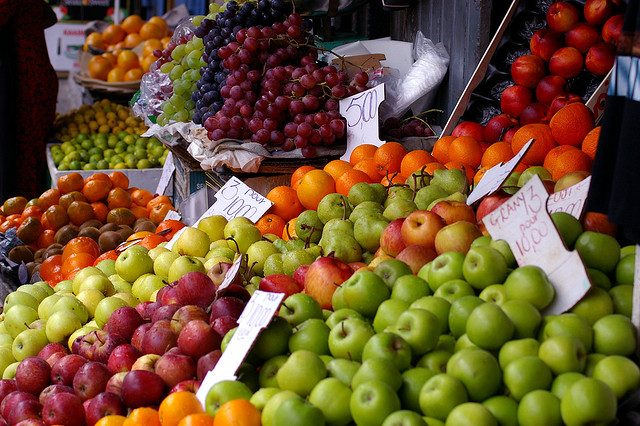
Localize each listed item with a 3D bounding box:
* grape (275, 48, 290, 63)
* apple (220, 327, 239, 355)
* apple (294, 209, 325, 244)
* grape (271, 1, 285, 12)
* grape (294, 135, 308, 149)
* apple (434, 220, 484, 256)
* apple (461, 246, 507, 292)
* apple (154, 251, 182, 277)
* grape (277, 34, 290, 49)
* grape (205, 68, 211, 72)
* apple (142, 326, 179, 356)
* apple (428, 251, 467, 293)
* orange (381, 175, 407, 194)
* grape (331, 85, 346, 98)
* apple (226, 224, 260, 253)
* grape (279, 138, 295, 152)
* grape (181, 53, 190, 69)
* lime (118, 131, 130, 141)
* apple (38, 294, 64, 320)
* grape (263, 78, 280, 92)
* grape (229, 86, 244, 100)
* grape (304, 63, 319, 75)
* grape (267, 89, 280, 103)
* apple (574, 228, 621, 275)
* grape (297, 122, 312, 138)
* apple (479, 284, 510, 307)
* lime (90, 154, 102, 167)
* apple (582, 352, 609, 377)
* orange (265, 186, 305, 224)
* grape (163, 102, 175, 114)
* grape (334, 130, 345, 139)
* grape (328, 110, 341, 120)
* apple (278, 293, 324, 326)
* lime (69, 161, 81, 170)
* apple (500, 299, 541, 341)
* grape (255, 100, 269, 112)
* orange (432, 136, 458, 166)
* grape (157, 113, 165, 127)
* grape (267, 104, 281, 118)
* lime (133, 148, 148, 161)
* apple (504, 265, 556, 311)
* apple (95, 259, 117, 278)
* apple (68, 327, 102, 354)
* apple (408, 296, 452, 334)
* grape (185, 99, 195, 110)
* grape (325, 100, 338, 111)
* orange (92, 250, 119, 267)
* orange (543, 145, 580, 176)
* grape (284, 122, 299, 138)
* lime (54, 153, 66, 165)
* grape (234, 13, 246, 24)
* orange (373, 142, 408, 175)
[{"bbox_3d":[-0.242,-1.011,3.568,0.071,0.104,0.078,-1,-5,-11],"label":"grape"},{"bbox_3d":[-0.336,0.461,2.015,0.071,0.076,0.068,-2,17,-34],"label":"apple"},{"bbox_3d":[-0.040,0.054,2.828,0.127,0.157,0.171,-8,17,8],"label":"apple"},{"bbox_3d":[-0.286,-1.384,3.726,0.081,0.075,0.068,4,11,-4],"label":"grape"},{"bbox_3d":[-0.119,-0.429,3.394,0.064,0.084,0.073,10,57,14],"label":"grape"},{"bbox_3d":[0.552,0.122,2.287,0.166,0.188,0.167,-4,-1,-41],"label":"apple"},{"bbox_3d":[0.603,0.195,2.109,0.147,0.149,0.166,0,56,-26],"label":"apple"},{"bbox_3d":[-0.766,0.263,2.803,0.105,0.137,0.123,-22,55,-1],"label":"apple"},{"bbox_3d":[-0.244,-1.108,3.600,0.065,0.053,0.084,17,5,-40],"label":"grape"},{"bbox_3d":[-0.754,-0.954,3.716,0.021,0.024,0.009,7,42,-5],"label":"grape"},{"bbox_3d":[-0.620,0.490,2.119,0.101,0.121,0.110,-9,23,-17],"label":"apple"},{"bbox_3d":[0.476,0.216,2.149,0.138,0.149,0.132,-34,14,-37],"label":"apple"},{"bbox_3d":[0.393,-0.126,2.921,0.091,0.109,0.096,-7,-11,34],"label":"orange"},{"bbox_3d":[0.118,-0.760,3.491,0.067,0.065,0.059,-1,4,8],"label":"grape"},{"bbox_3d":[-0.395,0.120,2.829,0.157,0.147,0.145,-13,48,-18],"label":"apple"},{"bbox_3d":[-0.206,-0.412,3.440,0.077,0.074,0.063,-14,2,-1],"label":"grape"},{"bbox_3d":[-0.989,-1.090,4.041,0.068,0.055,0.086,11,-34,-41],"label":"grape"},{"bbox_3d":[-2.187,-0.849,6.180,0.098,0.144,0.108,0,-10,0],"label":"lime"},{"bbox_3d":[-1.281,0.455,2.667,0.095,0.134,0.105,14,-10,9],"label":"apple"},{"bbox_3d":[-0.304,-0.797,3.475,0.085,0.078,0.080,-18,31,6],"label":"grape"},{"bbox_3d":[-0.526,-0.748,3.479,0.082,0.083,0.075,9,9,-16],"label":"grape"},{"bbox_3d":[-0.055,-0.916,3.562,0.067,0.091,0.069,20,17,29],"label":"grape"},{"bbox_3d":[-0.295,-0.730,3.509,0.064,0.078,0.071,-7,54,-29],"label":"grape"},{"bbox_3d":[1.046,0.138,2.103,0.135,0.168,0.149,6,0,14],"label":"apple"},{"bbox_3d":[-0.092,-0.496,3.382,0.089,0.087,0.055,-12,29,-14],"label":"grape"},{"bbox_3d":[0.630,0.295,1.999,0.064,0.073,0.066,-26,8,-28],"label":"apple"},{"bbox_3d":[-2.280,-0.547,5.642,0.101,0.136,0.110,21,23,-14],"label":"lime"},{"bbox_3d":[0.913,0.502,1.850,0.065,0.076,0.084,-22,1,16],"label":"apple"},{"bbox_3d":[-0.194,-0.055,3.194,0.172,0.232,0.187,3,30,32],"label":"orange"},{"bbox_3d":[-1.084,-0.741,3.966,0.061,0.088,0.069,2,9,3],"label":"grape"},{"bbox_3d":[0.128,-0.485,3.502,0.045,0.049,0.052,-8,58,-18],"label":"grape"},{"bbox_3d":[0.090,-0.615,3.491,0.066,0.059,0.052,6,6,-26],"label":"grape"},{"bbox_3d":[-0.071,0.388,2.140,0.124,0.161,0.139,-14,-8,11],"label":"apple"},{"bbox_3d":[-2.363,-0.447,5.355,0.091,0.092,0.082,-1,0,26],"label":"lime"},{"bbox_3d":[0.700,0.364,1.902,0.129,0.136,0.122,10,-18,-6],"label":"apple"},{"bbox_3d":[-0.362,-0.660,3.441,0.058,0.073,0.073,2,-6,18],"label":"grape"},{"bbox_3d":[0.710,-0.359,3.271,0.143,0.200,0.145,4,2,-39],"label":"orange"},{"bbox_3d":[-1.168,-0.679,4.044,0.042,0.088,0.070,11,30,17],"label":"grape"},{"bbox_3d":[-0.283,-0.600,3.408,0.070,0.076,0.097,2,54,-7],"label":"grape"},{"bbox_3d":[-1.833,-0.583,5.688,0.099,0.135,0.120,1,60,0],"label":"lime"},{"bbox_3d":[0.747,0.270,2.019,0.141,0.160,0.152,27,-4,9],"label":"apple"},{"bbox_3d":[-1.152,0.303,2.978,0.098,0.086,0.097,24,58,-16],"label":"apple"},{"bbox_3d":[-1.041,0.552,2.449,0.091,0.112,0.106,2,1,14],"label":"apple"},{"bbox_3d":[0.403,0.355,2.076,0.143,0.136,0.138,7,40,-9],"label":"apple"},{"bbox_3d":[-0.926,-0.760,3.934,0.063,0.055,0.051,5,27,29],"label":"grape"},{"bbox_3d":[0.073,-0.679,3.521,0.057,0.079,0.067,7,33,8],"label":"grape"},{"bbox_3d":[-1.229,0.239,3.153,0.085,0.060,0.097,-19,24,25],"label":"orange"},{"bbox_3d":[1.166,-0.278,2.643,0.124,0.138,0.142,5,45,22],"label":"orange"},{"bbox_3d":[-0.182,-0.497,3.424,0.084,0.086,0.064,-6,28,-2],"label":"grape"},{"bbox_3d":[-2.625,-0.541,5.603,0.088,0.120,0.098,-10,35,-15],"label":"lime"},{"bbox_3d":[-0.522,-1.270,3.624,0.058,0.075,0.059,-28,44,-23],"label":"grape"},{"bbox_3d":[0.394,-0.309,3.205,0.171,0.181,0.171,-12,25,-41],"label":"orange"}]
